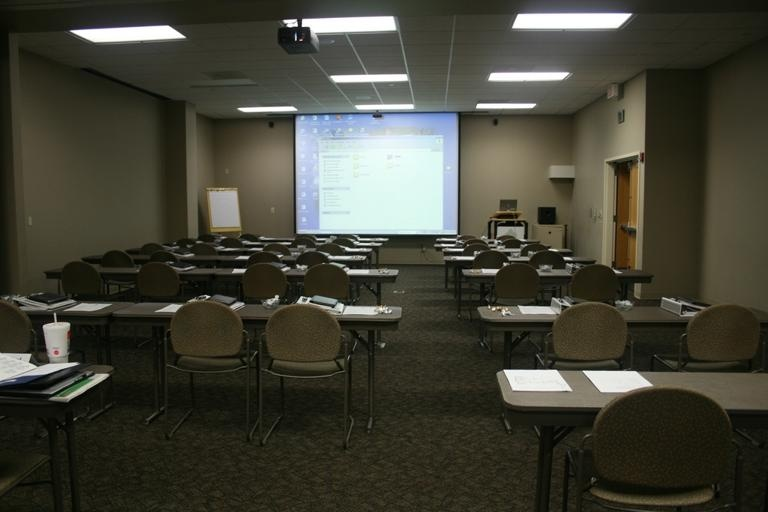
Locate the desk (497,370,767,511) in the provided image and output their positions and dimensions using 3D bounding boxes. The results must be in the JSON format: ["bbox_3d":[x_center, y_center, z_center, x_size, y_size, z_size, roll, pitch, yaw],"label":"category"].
[{"bbox_3d":[1.591,1.191,3.478,1.136,0.537,0.433,-1,5,-3],"label":"desk"}]

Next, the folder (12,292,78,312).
[{"bbox_3d":[-3.197,0.438,5.097,0.287,0.066,0.282,2,9,3],"label":"folder"}]

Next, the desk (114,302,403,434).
[{"bbox_3d":[-1.074,1.019,5.041,2.551,1.004,0.767,2,2,-8],"label":"desk"}]

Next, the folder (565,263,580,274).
[{"bbox_3d":[2.549,0.173,7.353,0.145,0.072,0.186,0,4,6],"label":"folder"}]

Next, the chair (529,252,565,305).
[{"bbox_3d":[2.322,0.311,8.006,0.627,0.880,0.639,1,15,25],"label":"chair"}]

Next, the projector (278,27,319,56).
[{"bbox_3d":[-1.059,-2.667,6.807,0.395,0.267,0.405,1,6,2],"label":"projector"}]

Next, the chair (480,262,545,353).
[{"bbox_3d":[1.587,0.684,6.429,0.708,1.064,0.736,8,20,19],"label":"chair"}]

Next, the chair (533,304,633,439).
[{"bbox_3d":[1.539,0.851,4.110,0.652,1.017,0.639,-4,-16,20],"label":"chair"}]

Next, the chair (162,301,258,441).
[{"bbox_3d":[-1.483,0.981,4.798,0.946,1.163,0.894,2,-6,-29],"label":"chair"}]

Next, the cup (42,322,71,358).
[{"bbox_3d":[-2.263,0.580,3.794,0.151,0.257,0.156,-1,8,0],"label":"cup"}]

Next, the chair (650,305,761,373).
[{"bbox_3d":[2.810,0.684,4.662,0.724,0.633,0.527,0,8,6],"label":"chair"}]

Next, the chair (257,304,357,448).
[{"bbox_3d":[-0.711,0.959,4.793,0.866,1.225,0.759,-1,8,-4],"label":"chair"}]
